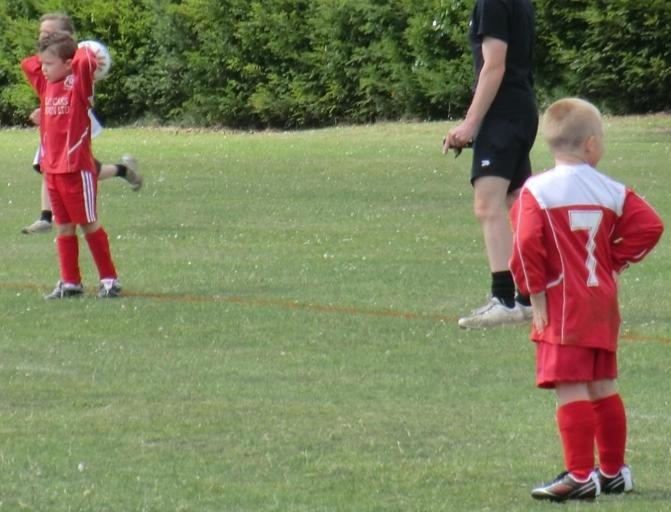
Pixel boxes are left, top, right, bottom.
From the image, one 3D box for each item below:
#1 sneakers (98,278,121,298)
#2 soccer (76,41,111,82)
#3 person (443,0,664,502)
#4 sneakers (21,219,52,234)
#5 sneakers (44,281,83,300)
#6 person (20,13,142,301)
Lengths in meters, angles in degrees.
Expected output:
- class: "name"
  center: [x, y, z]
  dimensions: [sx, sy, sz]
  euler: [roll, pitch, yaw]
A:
- class: "sneakers"
  center: [-2.422, 0.347, 17.013]
  dimensions: [0.217, 0.187, 0.209]
  euler: [-5, -6, 40]
- class: "soccer"
  center: [-2.556, -2.105, 17.261]
  dimensions: [0.465, 0.464, 0.442]
  euler: [-8, 5, -26]
- class: "person"
  center: [2.172, 0.361, 13.951]
  dimensions: [1.215, 3.438, 0.856]
  euler: [-3, 7, 2]
- class: "sneakers"
  center: [-3.628, -0.336, 18.976]
  dimensions: [0.449, 0.162, 0.153]
  euler: [-2, 5, -12]
- class: "sneakers"
  center: [-2.879, 0.382, 16.951]
  dimensions: [0.444, 0.160, 0.152]
  euler: [1, 1, 2]
- class: "person"
  center: [-2.818, -1.023, 17.082]
  dimensions: [0.776, 2.933, 0.637]
  euler: [-4, 7, -10]
